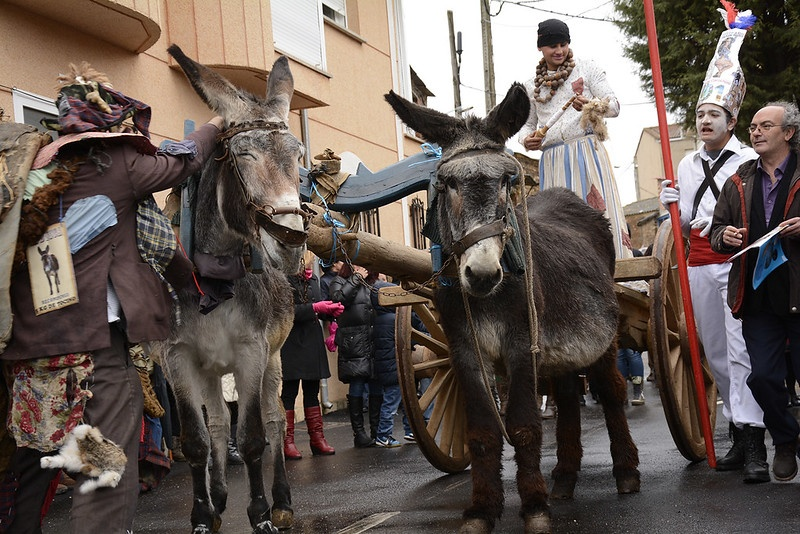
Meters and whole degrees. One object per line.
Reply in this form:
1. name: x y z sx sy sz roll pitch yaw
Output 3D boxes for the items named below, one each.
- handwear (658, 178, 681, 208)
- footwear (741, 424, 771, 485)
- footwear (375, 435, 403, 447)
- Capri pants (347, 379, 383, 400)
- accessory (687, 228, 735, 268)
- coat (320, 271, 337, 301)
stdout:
1. handwear: 2.560 -0.704 7.586 0.158 0.287 0.333 -9 -8 14
2. footwear: 3.050 1.608 6.867 0.182 0.437 0.474 -9 0 33
3. footwear: -0.131 2.312 10.599 0.387 0.184 0.136 1 -3 3
4. Capri pants: -0.474 1.658 10.864 0.127 0.153 0.504 6 -1 43
5. accessory: 2.991 -0.188 7.726 0.403 0.333 0.445 2 -6 -15
6. coat: -0.975 0.275 10.963 0.379 0.352 0.202 -1 -1 -34
